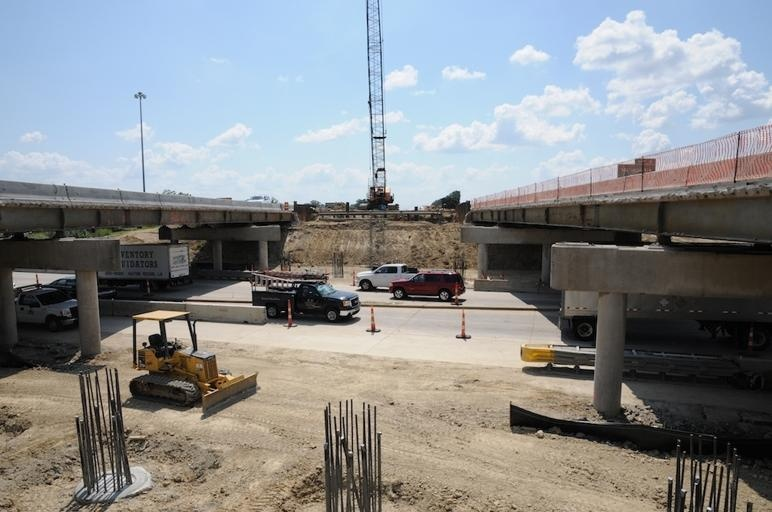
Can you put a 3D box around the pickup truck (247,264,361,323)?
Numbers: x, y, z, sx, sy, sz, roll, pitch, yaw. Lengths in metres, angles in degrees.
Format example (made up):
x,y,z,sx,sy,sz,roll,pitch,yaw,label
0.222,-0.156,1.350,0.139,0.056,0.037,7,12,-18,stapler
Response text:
x,y,z,sx,sy,sz,roll,pitch,yaw,label
-4.345,2.116,29.893,5.311,2.269,2.488,0,6,8,pickup truck

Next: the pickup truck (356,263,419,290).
x,y,z,sx,sy,sz,roll,pitch,yaw,label
-0.110,1.478,37.414,3.684,1.514,1.779,1,5,16,pickup truck

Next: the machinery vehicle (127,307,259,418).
x,y,z,sx,sy,sz,roll,pitch,yaw,label
-6.895,3.607,20.185,4.153,2.482,2.617,6,7,23,machinery vehicle

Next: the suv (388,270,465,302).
x,y,z,sx,sy,sz,roll,pitch,yaw,label
2.551,1.837,34.562,3.845,1.497,1.750,3,2,9,suv

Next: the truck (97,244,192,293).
x,y,z,sx,sy,sz,roll,pitch,yaw,label
-15.614,0.702,37.880,4.572,2.182,2.049,1,3,21,truck

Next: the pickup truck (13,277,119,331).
x,y,z,sx,sy,sz,roll,pitch,yaw,label
-17.622,2.686,29.212,5.769,1.950,3.055,0,3,20,pickup truck
